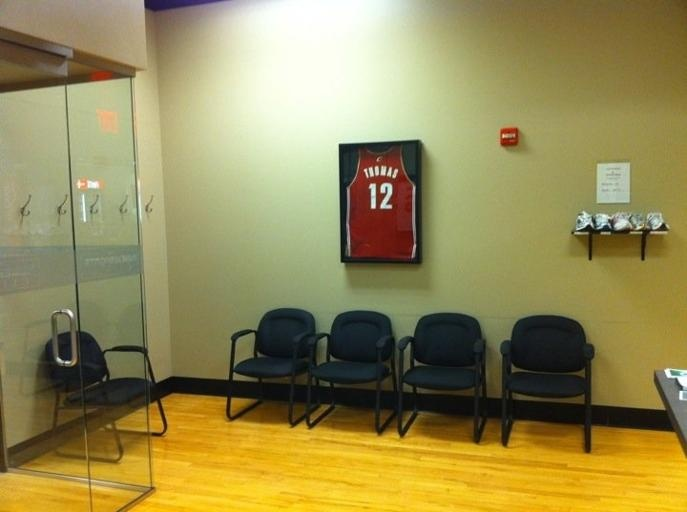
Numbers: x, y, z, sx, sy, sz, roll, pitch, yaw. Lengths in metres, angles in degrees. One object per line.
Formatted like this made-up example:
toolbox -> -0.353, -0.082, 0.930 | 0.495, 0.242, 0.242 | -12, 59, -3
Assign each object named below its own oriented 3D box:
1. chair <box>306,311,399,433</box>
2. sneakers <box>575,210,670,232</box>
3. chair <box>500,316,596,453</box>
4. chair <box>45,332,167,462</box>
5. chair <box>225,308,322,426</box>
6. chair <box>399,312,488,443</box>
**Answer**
chair -> 0.080, 0.990, 4.812 | 0.727, 0.987, 0.747 | 0, 1, 5
sneakers -> 2.218, -0.266, 4.496 | 0.678, 0.150, 0.173 | 1, 11, 13
chair -> 1.632, 1.027, 4.464 | 0.706, 1.011, 0.642 | -1, 3, 16
chair -> -1.614, 0.804, 3.742 | 0.689, 0.954, 0.762 | 1, 0, 16
chair -> -0.574, 0.970, 5.098 | 0.830, 1.324, 0.962 | -1, -4, 17
chair -> 0.838, 0.999, 4.720 | 0.736, 0.909, 0.727 | 1, 11, 14
